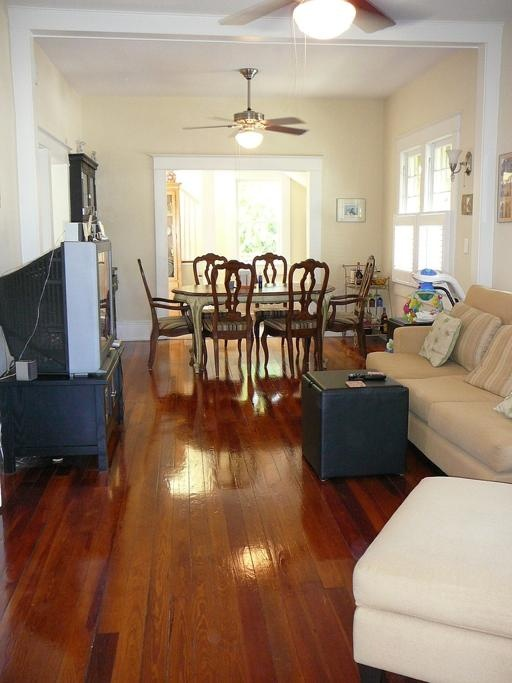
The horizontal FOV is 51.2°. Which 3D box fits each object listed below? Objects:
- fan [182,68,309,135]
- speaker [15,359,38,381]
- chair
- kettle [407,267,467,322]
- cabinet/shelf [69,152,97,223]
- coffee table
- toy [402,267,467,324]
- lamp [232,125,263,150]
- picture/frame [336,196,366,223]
[{"bbox_3d":[-0.044,-2.324,5.070,1.109,0.583,1.044,-13,19,-40],"label":"fan"},{"bbox_3d":[-1.154,0.143,2.729,0.095,0.106,0.097,2,4,18],"label":"speaker"},{"bbox_3d":[-0.289,-0.350,5.575,2.491,1.158,1.581,4,8,31],"label":"chair"},{"bbox_3d":[1.448,-0.373,4.284,0.443,0.415,0.279,2,21,4],"label":"kettle"},{"bbox_3d":[-1.913,-1.676,5.886,0.246,0.719,0.645,-2,7,-12],"label":"cabinet/shelf"},{"bbox_3d":[0.524,0.403,2.834,0.464,0.474,0.477,-3,12,-7],"label":"coffee table"},{"bbox_3d":[1.453,-0.380,4.306,0.476,0.417,0.317,2,19,1],"label":"toy"},{"bbox_3d":[-0.071,-1.981,5.170,0.234,0.155,0.195,-1,7,-7],"label":"lamp"},{"bbox_3d":[1.244,-1.773,7.064,0.309,0.282,0.032,0,6,-9],"label":"picture/frame"}]
